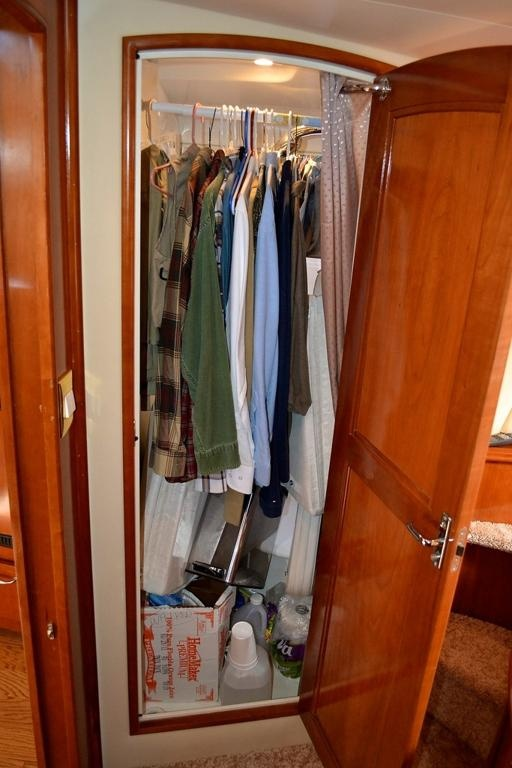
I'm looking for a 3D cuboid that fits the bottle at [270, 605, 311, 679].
[{"bbox_3d":[0.119,0.880,1.993,0.170,0.331,0.080,9,-6,-26],"label":"bottle"}]

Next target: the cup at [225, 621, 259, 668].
[{"bbox_3d":[-0.052,0.897,1.938,0.099,0.132,0.115,4,14,15],"label":"cup"}]
